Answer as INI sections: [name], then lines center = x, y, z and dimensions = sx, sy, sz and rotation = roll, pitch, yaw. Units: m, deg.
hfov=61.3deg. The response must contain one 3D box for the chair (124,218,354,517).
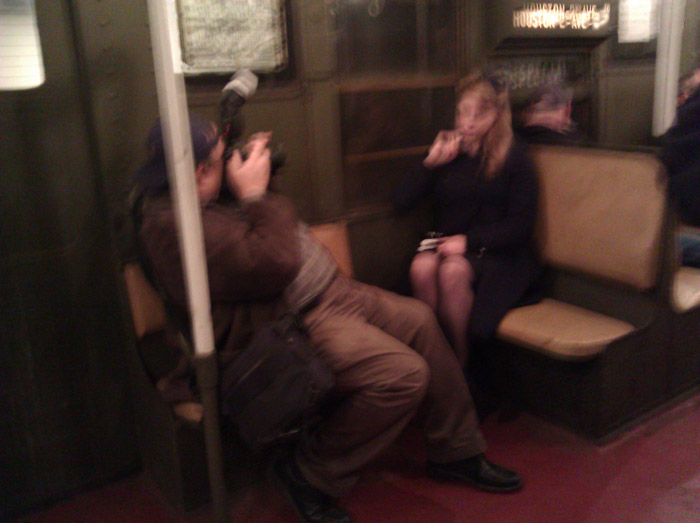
[chair]
center = -0.223, 0.260, 1.405
dimensions = 0.197, 0.564, 0.421
rotation = -23, 7, 39

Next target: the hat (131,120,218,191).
[hat]
center = -0.374, -0.229, 1.276
dimensions = 0.187, 0.163, 0.045
rotation = -1, 20, 6

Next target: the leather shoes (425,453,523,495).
[leather shoes]
center = 0.342, 0.566, 1.627
dimensions = 0.276, 0.123, 0.103
rotation = 1, 9, -2

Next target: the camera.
[camera]
center = -0.219, -0.285, 1.295
dimensions = 0.143, 0.258, 0.042
rotation = -7, 21, -11

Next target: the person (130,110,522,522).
[person]
center = -0.094, -0.032, 1.822
dimensions = 1.105, 1.292, 0.538
rotation = 2, 24, 6

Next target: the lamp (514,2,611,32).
[lamp]
center = 0.535, -0.611, 1.485
dimensions = 0.316, 0.067, 0.051
rotation = -15, 24, -30
